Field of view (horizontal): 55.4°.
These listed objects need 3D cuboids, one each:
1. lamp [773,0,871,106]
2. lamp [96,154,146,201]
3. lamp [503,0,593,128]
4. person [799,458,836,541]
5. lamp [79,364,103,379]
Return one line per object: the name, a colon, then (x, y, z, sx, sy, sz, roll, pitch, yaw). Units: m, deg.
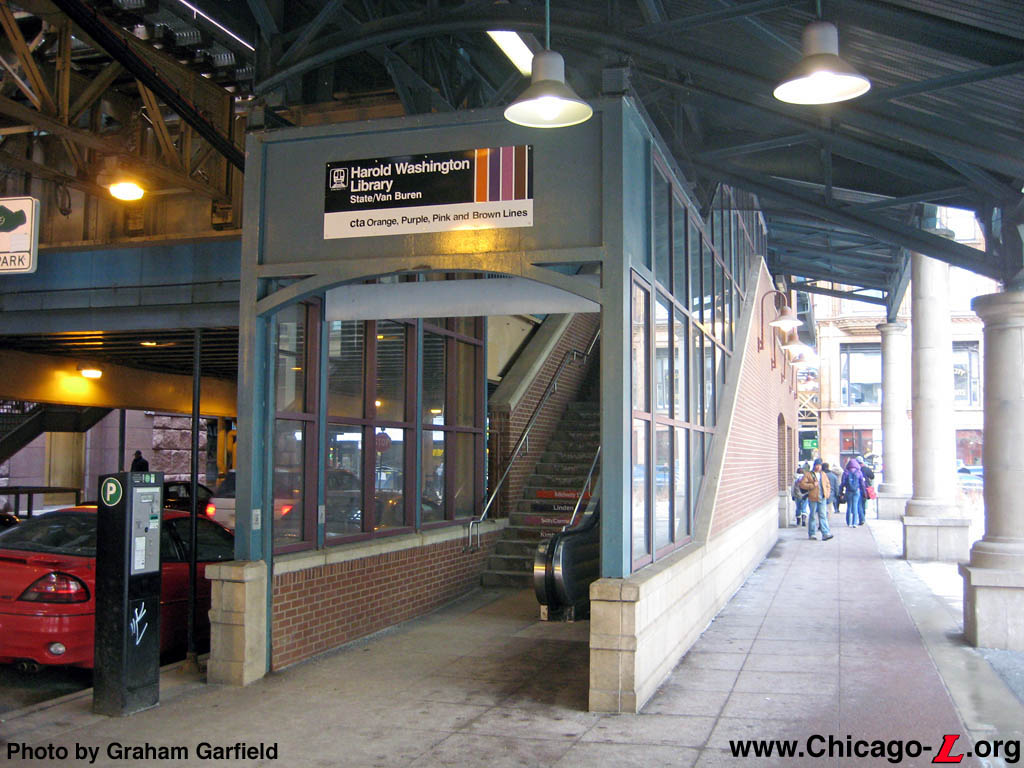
lamp: (2.693, -2.716, 8.573, 0.848, 0.915, 0.849, 0, 3, 19)
lamp: (-5.135, -2.739, 12.902, 0.467, 0.651, 0.819, 2, -3, -30)
lamp: (0.398, -3.000, 9.231, 0.733, 1.340, 1.287, 0, -3, 9)
person: (7.949, 2.985, 25.421, 0.867, 2.060, 0.721, -1, 1, 20)
lamp: (-8.360, -0.203, 19.480, 0.426, 0.271, 0.342, 1, -3, -24)
